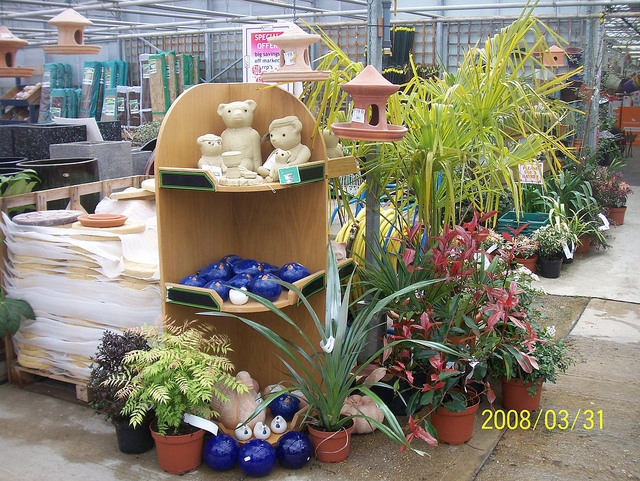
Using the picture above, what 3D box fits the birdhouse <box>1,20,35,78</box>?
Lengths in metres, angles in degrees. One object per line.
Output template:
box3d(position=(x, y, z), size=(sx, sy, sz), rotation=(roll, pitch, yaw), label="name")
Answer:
box3d(position=(-2.646, -1.587, 4.160), size=(0.296, 0.517, 0.329), rotation=(8, 11, 7), label="birdhouse")

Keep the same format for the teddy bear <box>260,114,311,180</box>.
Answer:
box3d(position=(-0.217, -0.519, 2.670), size=(0.229, 0.330, 0.299), rotation=(14, 18, 42), label="teddy bear")

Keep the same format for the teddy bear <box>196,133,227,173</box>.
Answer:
box3d(position=(-0.613, -0.488, 2.640), size=(0.125, 0.173, 0.075), rotation=(-3, 14, -16), label="teddy bear")

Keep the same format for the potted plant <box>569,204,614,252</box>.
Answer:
box3d(position=(3.170, -0.104, 5.792), size=(0.348, 0.374, 0.316), rotation=(0, -3, 21), label="potted plant")

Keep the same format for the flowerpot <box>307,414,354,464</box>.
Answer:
box3d(position=(0.033, 1.029, 2.585), size=(0.232, 0.164, 0.256), rotation=(17, 17, 27), label="flowerpot")

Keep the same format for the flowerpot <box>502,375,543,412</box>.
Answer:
box3d(position=(1.145, 0.889, 2.793), size=(0.215, 0.175, 0.214), rotation=(-4, 5, -42), label="flowerpot")

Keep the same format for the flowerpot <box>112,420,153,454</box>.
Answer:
box3d(position=(-0.973, 1.025, 2.498), size=(0.184, 0.148, 0.192), rotation=(-1, -1, 3), label="flowerpot")

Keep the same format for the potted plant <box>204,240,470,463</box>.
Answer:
box3d(position=(0.116, 0.569, 2.555), size=(1.058, 1.041, 0.936), rotation=(-9, 17, -38), label="potted plant")

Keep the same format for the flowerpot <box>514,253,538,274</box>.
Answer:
box3d(position=(1.839, 0.195, 4.340), size=(0.200, 0.165, 0.207), rotation=(5, 18, 28), label="flowerpot")

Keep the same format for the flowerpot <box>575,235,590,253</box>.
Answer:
box3d(position=(3.107, 0.026, 5.766), size=(0.174, 0.186, 0.188), rotation=(1, 12, 1), label="flowerpot")

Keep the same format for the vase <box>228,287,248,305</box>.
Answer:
box3d(position=(-0.436, 0.275, 2.477), size=(0.082, 0.062, 0.085), rotation=(1, 5, 3), label="vase")

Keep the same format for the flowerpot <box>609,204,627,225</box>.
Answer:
box3d(position=(4.243, -0.372, 6.896), size=(0.230, 0.262, 0.135), rotation=(2, 13, 5), label="flowerpot")

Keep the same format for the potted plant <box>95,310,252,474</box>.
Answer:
box3d(position=(-0.703, 0.675, 2.583), size=(0.742, 0.787, 0.745), rotation=(5, 5, 20), label="potted plant")

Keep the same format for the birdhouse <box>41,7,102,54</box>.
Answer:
box3d(position=(-2.156, -1.750, 4.221), size=(0.427, 0.371, 0.444), rotation=(-1, 7, -5), label="birdhouse")

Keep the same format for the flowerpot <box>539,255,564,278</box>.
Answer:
box3d(position=(2.391, 0.273, 5.013), size=(0.224, 0.185, 0.231), rotation=(4, 5, 28), label="flowerpot")
